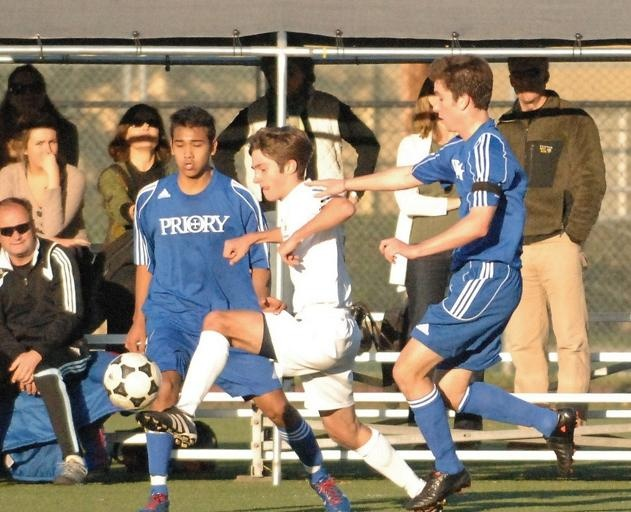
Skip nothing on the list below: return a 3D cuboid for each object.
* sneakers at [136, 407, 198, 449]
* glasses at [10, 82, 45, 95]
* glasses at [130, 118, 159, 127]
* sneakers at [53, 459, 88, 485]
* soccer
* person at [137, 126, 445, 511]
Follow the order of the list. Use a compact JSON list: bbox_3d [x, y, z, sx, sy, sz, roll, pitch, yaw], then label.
[{"bbox_3d":[-0.848,0.980,11.094,0.334,0.164,0.121,30,-23,-35],"label":"sneakers"},{"bbox_3d":[-2.130,-1.269,13.667,0.256,0.077,0.078,-4,5,-20],"label":"glasses"},{"bbox_3d":[-1.236,-1.001,13.411,0.099,0.023,0.085,-1,-20,-14],"label":"glasses"},{"bbox_3d":[-1.643,1.432,12.387,0.202,0.174,0.129,-3,5,-2],"label":"sneakers"},{"bbox_3d":[-1.158,0.748,11.611,0.380,0.342,0.410,-7,20,-27],"label":"soccer"},{"bbox_3d":[-0.077,0.343,11.454,1.375,2.347,0.681,-3,5,2],"label":"person"}]
